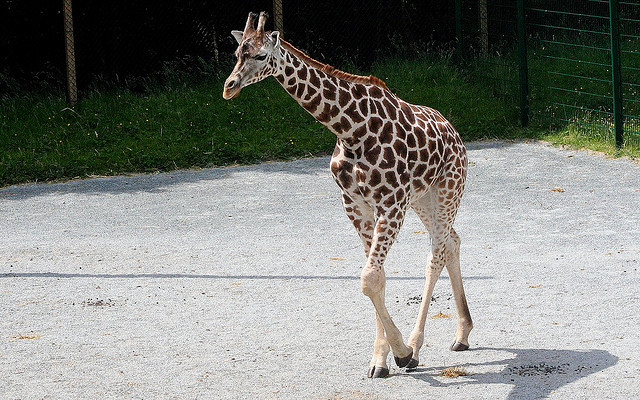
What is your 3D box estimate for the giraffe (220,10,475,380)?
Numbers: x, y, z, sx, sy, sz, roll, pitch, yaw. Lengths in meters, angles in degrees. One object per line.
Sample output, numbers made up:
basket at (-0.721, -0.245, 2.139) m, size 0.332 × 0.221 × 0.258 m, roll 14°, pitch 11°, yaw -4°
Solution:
giraffe at (0.552, -0.059, 12.231) m, size 2.454 × 4.274 × 0.831 m, roll -3°, pitch 9°, yaw -2°
